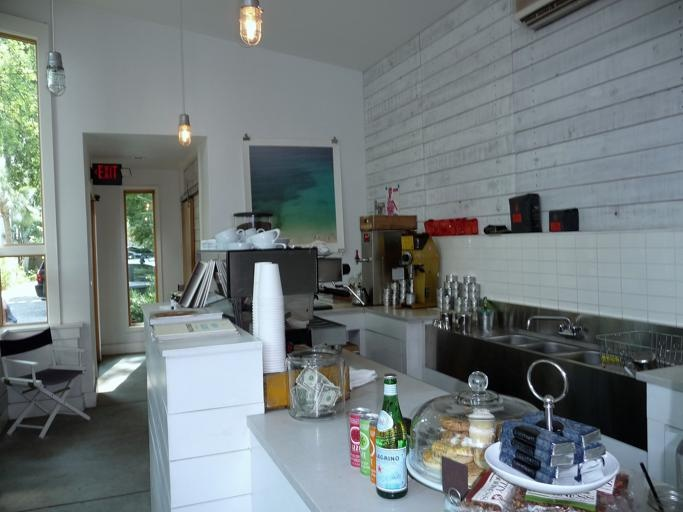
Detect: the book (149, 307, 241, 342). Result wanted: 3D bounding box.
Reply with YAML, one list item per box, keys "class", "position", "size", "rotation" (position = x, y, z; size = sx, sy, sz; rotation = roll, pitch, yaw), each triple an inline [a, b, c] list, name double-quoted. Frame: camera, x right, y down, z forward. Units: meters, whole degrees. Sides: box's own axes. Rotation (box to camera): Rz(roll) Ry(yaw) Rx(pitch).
- class: "book"
  position: [-0.798, 0.367, 2.587]
  size: [0.385, 0.095, 0.624]
  rotation: [-2, 5, -26]

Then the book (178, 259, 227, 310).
- class: "book"
  position: [-0.802, 0.168, 2.933]
  size: [0.089, 0.322, 0.302]
  rotation: [14, 1, 23]

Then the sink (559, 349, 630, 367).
- class: "sink"
  position: [1.699, 0.672, 3.318]
  size: [0.193, 0.103, 0.249]
  rotation: [-2, -1, -22]

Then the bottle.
- class: "bottle"
  position: [0.173, 0.610, 1.704]
  size: [0.112, 0.408, 0.148]
  rotation: [0, 4, 7]

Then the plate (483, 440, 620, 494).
- class: "plate"
  position: [0.639, 0.639, 1.504]
  size: [0.386, 0.113, 0.237]
  rotation: [1, 4, 17]

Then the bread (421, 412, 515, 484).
- class: "bread"
  position: [0.388, 0.626, 1.672]
  size: [0.233, 0.159, 0.242]
  rotation: [0, -3, -16]

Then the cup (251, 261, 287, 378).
- class: "cup"
  position: [-0.355, 0.292, 2.411]
  size: [0.148, 0.511, 0.220]
  rotation: [-1, 4, -9]
